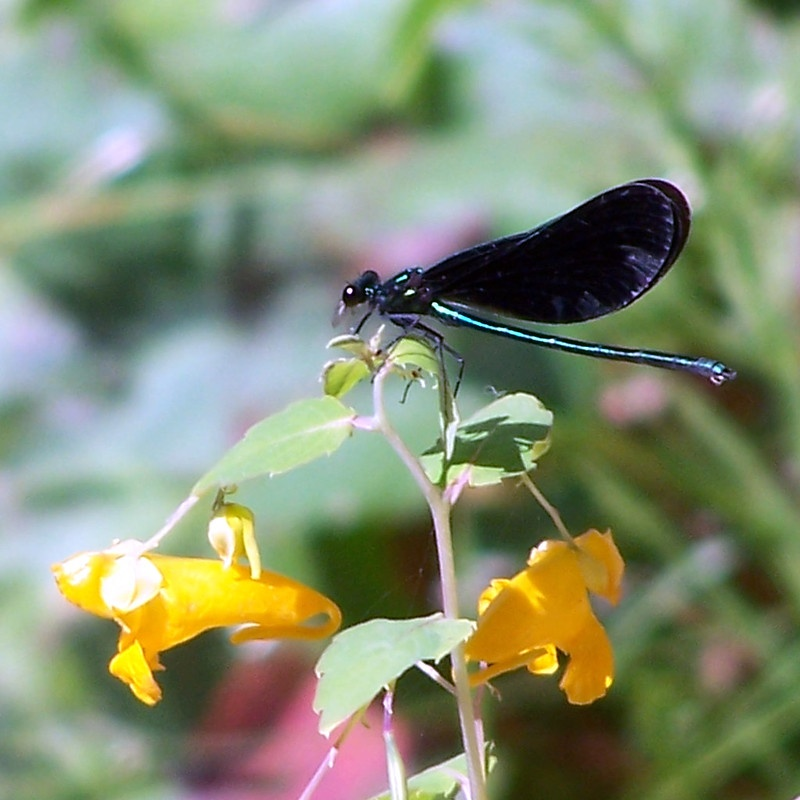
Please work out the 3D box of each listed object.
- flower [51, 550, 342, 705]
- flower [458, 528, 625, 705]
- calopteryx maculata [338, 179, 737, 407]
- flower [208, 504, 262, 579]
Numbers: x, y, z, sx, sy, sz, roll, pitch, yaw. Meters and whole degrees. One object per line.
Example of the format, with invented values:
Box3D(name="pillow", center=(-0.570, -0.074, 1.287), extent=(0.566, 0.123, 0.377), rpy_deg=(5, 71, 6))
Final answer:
Box3D(name="flower", center=(-0.181, 0.185, 1.050), extent=(0.308, 0.083, 0.149), rpy_deg=(11, 29, -35))
Box3D(name="flower", center=(0.116, 0.182, 1.098), extent=(0.178, 0.144, 0.047), rpy_deg=(6, 20, -25))
Box3D(name="calopteryx maculata", center=(0.137, -0.116, 1.303), extent=(0.551, 0.219, 0.173), rpy_deg=(7, -8, 34))
Box3D(name="flower", center=(-0.146, 0.120, 1.040), extent=(0.049, 0.067, 0.034), rpy_deg=(-2, -27, -35))
